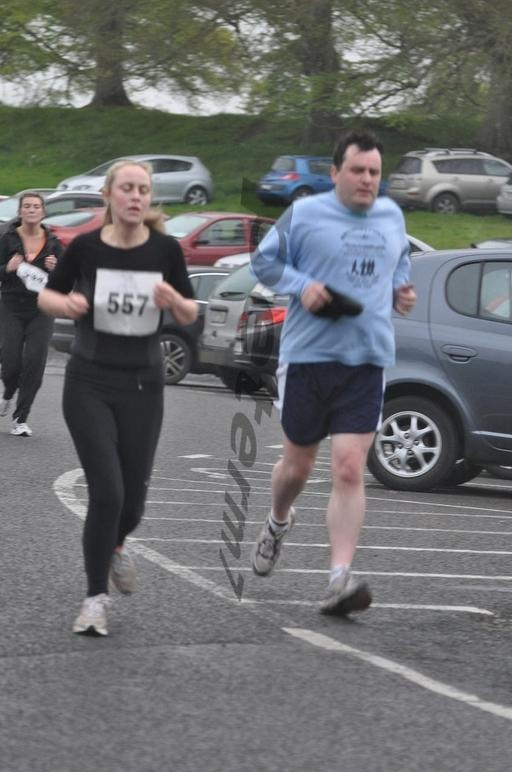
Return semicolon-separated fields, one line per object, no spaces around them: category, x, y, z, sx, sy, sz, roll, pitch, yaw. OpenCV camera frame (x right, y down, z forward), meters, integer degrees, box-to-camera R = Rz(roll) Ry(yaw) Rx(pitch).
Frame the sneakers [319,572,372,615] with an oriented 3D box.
sneakers;0.358;0.779;3.058;0.106;0.140;0.261;15;-30;-16

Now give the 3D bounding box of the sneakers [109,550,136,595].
sneakers;-0.498;0.698;3.057;0.078;0.184;0.083;-9;23;12

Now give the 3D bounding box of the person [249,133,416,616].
person;0.243;-0.034;3.078;0.554;1.818;0.479;4;4;8

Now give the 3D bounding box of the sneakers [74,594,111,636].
sneakers;-0.554;0.762;2.747;0.114;0.139;0.197;2;4;-10

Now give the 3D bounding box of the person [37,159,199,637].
person;-0.488;0.021;2.779;0.524;1.576;0.343;3;4;-6

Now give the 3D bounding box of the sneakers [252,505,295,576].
sneakers;0.086;0.660;3.404;0.123;0.326;0.154;21;18;-3

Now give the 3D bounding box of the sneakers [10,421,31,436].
sneakers;-2.251;0.418;7.795;0.109;0.101;0.244;3;-4;-38
